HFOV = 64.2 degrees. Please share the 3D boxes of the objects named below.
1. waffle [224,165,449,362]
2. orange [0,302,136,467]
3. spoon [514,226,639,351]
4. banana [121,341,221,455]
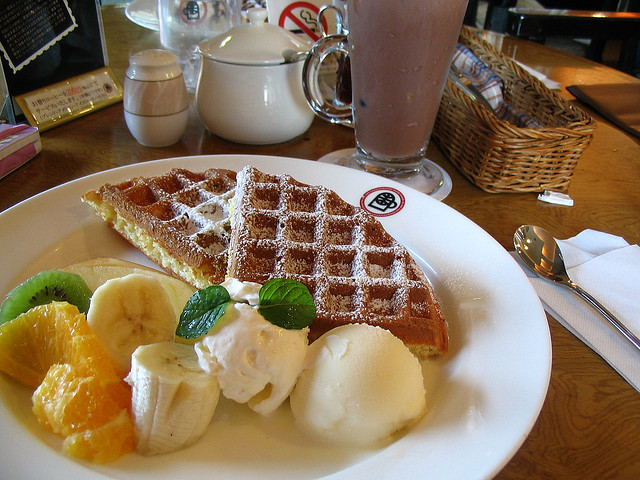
[{"bbox_3d":[0.017,0.092,1.447,0.477,0.134,0.514,13,46,-14],"label":"waffle"},{"bbox_3d":[-0.557,0.307,1.136,0.207,0.132,0.405,-18,63,-48],"label":"orange"},{"bbox_3d":[0.678,0.124,1.443,0.100,0.060,0.500,-20,44,-7],"label":"spoon"},{"bbox_3d":[-0.335,0.339,1.136,0.194,0.193,0.201,20,15,27],"label":"banana"}]
